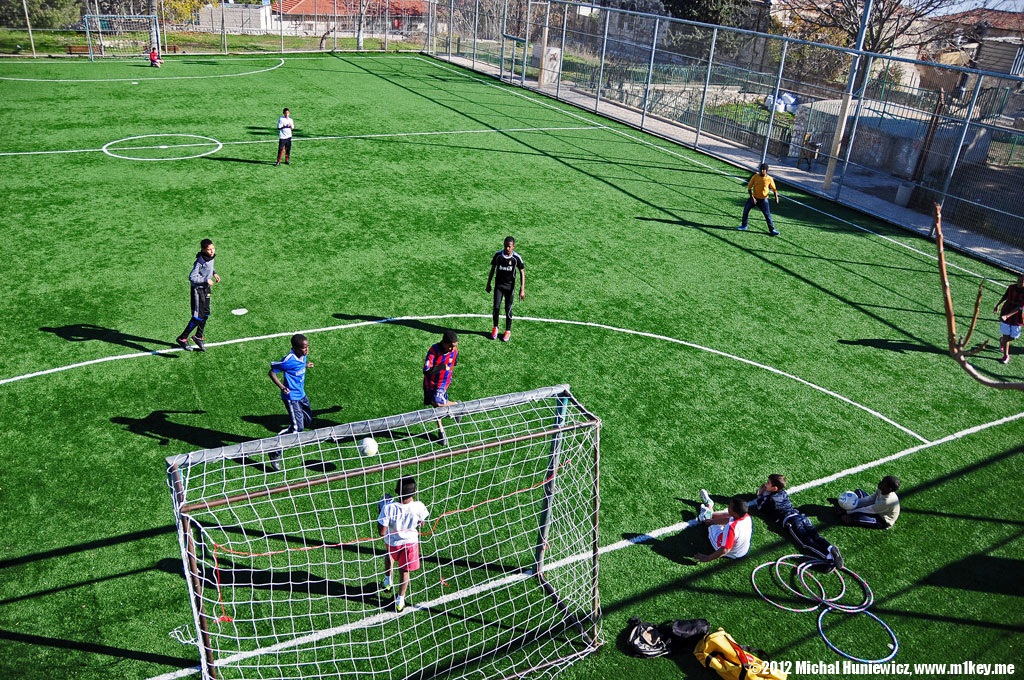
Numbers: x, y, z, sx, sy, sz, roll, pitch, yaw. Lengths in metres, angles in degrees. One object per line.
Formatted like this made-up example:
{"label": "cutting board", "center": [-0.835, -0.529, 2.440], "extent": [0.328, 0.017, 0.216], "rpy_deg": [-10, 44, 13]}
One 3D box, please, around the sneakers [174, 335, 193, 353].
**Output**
{"label": "sneakers", "center": [-7.301, 0.063, 19.555], "extent": [0.523, 0.209, 0.187], "rpy_deg": [27, 50, 16]}

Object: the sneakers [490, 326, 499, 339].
{"label": "sneakers", "center": [-0.433, -0.184, 20.706], "extent": [0.146, 0.285, 0.126], "rpy_deg": [5, 56, 4]}

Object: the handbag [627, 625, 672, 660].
{"label": "handbag", "center": [2.336, 5.245, 14.967], "extent": [0.707, 0.266, 0.492], "rpy_deg": [2, 34, -21]}

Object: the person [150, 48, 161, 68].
{"label": "person", "center": [-18.141, -14.635, 44.423], "extent": [0.492, 0.939, 0.777], "rpy_deg": [-5, 27, -23]}

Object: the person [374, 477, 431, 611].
{"label": "person", "center": [-1.884, 3.559, 15.200], "extent": [0.830, 2.368, 0.961], "rpy_deg": [-2, 26, -17]}

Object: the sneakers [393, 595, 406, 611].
{"label": "sneakers", "center": [-1.957, 4.675, 15.239], "extent": [0.178, 0.255, 0.302], "rpy_deg": [3, 1, -11]}

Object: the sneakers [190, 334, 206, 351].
{"label": "sneakers", "center": [-7.000, 0.073, 19.584], "extent": [0.192, 0.406, 0.186], "rpy_deg": [-35, -4, 16]}

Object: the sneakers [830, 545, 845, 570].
{"label": "sneakers", "center": [6.053, 4.106, 16.283], "extent": [0.218, 0.444, 0.180], "rpy_deg": [-14, 15, 20]}

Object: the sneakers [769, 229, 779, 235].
{"label": "sneakers", "center": [8.193, -3.427, 27.232], "extent": [0.339, 0.107, 0.216], "rpy_deg": [4, -4, 1]}

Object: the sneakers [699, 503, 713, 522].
{"label": "sneakers", "center": [3.687, 3.373, 16.763], "extent": [0.286, 0.219, 0.318], "rpy_deg": [53, 6, 29]}

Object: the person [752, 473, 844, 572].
{"label": "person", "center": [5.378, 3.529, 16.675], "extent": [1.013, 0.576, 1.965], "rpy_deg": [-30, 45, -11]}

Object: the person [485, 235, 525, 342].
{"label": "person", "center": [-0.150, -1.304, 20.609], "extent": [0.817, 2.447, 1.240], "rpy_deg": [6, 25, 0]}

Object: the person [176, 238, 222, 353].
{"label": "person", "center": [-6.996, -1.078, 19.547], "extent": [0.846, 2.412, 1.176], "rpy_deg": [0, 26, -13]}

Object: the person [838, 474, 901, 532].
{"label": "person", "center": [6.994, 3.148, 17.152], "extent": [1.212, 1.085, 0.885], "rpy_deg": [8, 26, 15]}
